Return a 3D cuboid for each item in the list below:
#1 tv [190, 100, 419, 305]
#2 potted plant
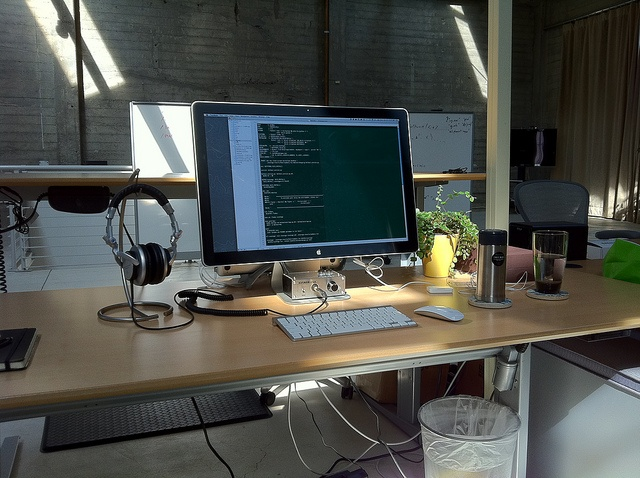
[{"bbox_3d":[-0.053,-0.113,1.511,0.671,0.555,0.213,-4,14,-17],"label":"tv"},{"bbox_3d":[0.477,-0.025,1.805,0.259,0.309,0.248,-2,1,-12],"label":"potted plant"}]
